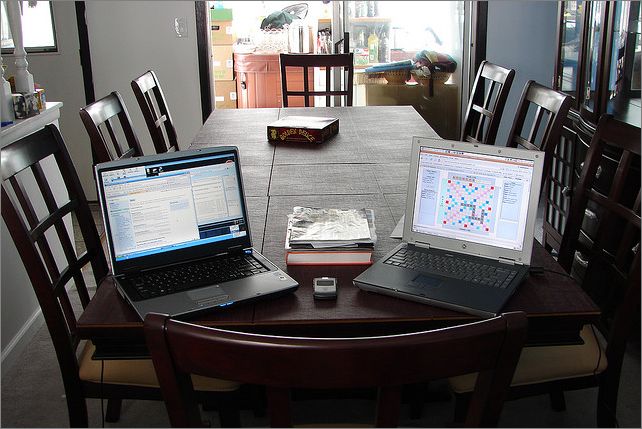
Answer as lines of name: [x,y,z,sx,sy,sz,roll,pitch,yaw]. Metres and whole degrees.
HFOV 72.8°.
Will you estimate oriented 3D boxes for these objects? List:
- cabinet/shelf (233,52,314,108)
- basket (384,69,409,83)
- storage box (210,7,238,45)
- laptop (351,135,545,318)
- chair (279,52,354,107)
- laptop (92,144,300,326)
cabinet/shelf: [-0.523,-1.685,4.978,0.839,0.730,0.803,-1,24,-2]
basket: [0.771,-1.412,4.453,0.174,0.105,0.168,-5,26,-7]
storage box: [-1.049,-2.065,4.797,0.357,0.325,0.258,-2,28,-3]
laptop: [0.376,0.022,1.284,0.436,0.330,0.468,10,27,40]
chair: [-0.029,-1.047,3.356,0.556,0.388,0.391,-3,25,-2]
laptop: [-0.458,-0.011,1.439,0.588,0.489,0.419,-10,14,-28]
